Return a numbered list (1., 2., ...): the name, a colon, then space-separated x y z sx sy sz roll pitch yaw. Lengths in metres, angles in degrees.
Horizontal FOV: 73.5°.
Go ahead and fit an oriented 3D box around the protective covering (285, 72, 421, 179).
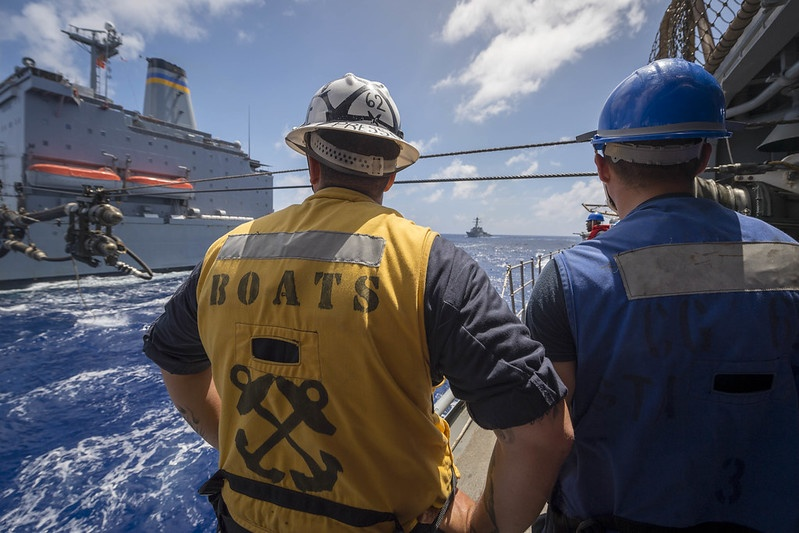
1. protective covering: -0.390 -1.366 6.008 1.393 1.073 1.803 13 13 9
